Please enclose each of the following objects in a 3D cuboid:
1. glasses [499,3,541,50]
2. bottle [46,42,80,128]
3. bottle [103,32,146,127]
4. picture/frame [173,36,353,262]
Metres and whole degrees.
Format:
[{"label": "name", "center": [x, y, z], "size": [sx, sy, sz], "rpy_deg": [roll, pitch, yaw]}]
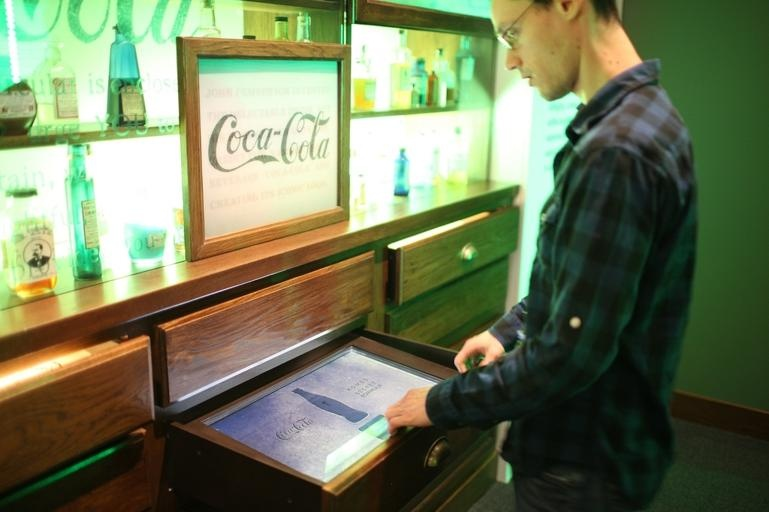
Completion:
[{"label": "glasses", "center": [0.347, -0.596, 1.487], "size": [0.023, 0.083, 0.078], "rpy_deg": [30, 21, 17]}, {"label": "bottle", "center": [-0.987, -0.528, 1.754], "size": [0.072, 0.225, 0.179], "rpy_deg": [-10, 20, -26]}, {"label": "bottle", "center": [-0.836, -0.564, 1.817], "size": [0.116, 0.297, 0.240], "rpy_deg": [-8, 19, -20]}, {"label": "picture/frame", "center": [-0.412, -0.349, 1.877], "size": [0.057, 0.644, 0.727], "rpy_deg": [13, 18, 41]}]
